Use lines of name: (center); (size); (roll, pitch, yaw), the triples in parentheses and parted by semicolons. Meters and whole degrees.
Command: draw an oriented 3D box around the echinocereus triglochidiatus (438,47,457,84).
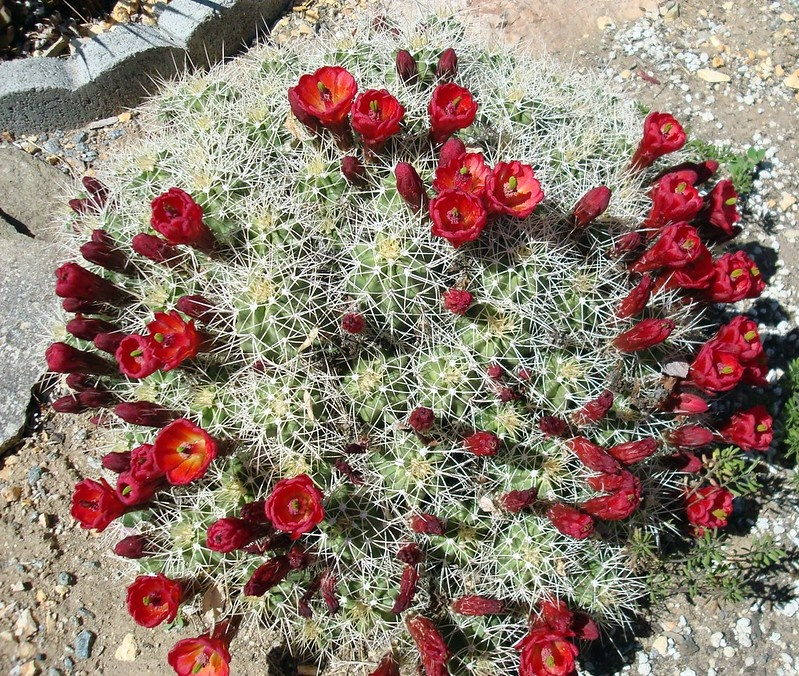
echinocereus triglochidiatus: (0.289, -1.681, 4.772); (0.128, 0.269, 0.191); (4, 81, 2)

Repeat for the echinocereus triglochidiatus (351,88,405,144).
echinocereus triglochidiatus: (-0.120, -1.189, 4.248); (0.271, 0.288, 0.285); (-31, 105, 7)

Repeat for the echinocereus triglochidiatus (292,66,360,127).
echinocereus triglochidiatus: (-0.385, -1.279, 4.235); (0.304, 0.250, 0.297); (-37, 49, -10)

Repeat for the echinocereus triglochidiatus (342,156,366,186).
echinocereus triglochidiatus: (-0.262, -0.946, 4.369); (0.125, 0.179, 0.130); (-11, 81, 0)

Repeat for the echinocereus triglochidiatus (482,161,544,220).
echinocereus triglochidiatus: (0.578, -0.768, 4.098); (0.293, 0.240, 0.272); (-15, 69, -14)

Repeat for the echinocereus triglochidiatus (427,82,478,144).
echinocereus triglochidiatus: (0.290, -1.255, 4.414); (0.256, 0.484, 0.239); (1, 81, 2)

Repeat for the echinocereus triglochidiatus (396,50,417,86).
echinocereus triglochidiatus: (0.041, -1.652, 4.648); (0.127, 0.163, 0.183); (-5, 80, 0)

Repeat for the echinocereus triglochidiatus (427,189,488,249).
echinocereus triglochidiatus: (0.301, -0.628, 3.985); (0.291, 0.202, 0.286); (-11, 90, 8)
